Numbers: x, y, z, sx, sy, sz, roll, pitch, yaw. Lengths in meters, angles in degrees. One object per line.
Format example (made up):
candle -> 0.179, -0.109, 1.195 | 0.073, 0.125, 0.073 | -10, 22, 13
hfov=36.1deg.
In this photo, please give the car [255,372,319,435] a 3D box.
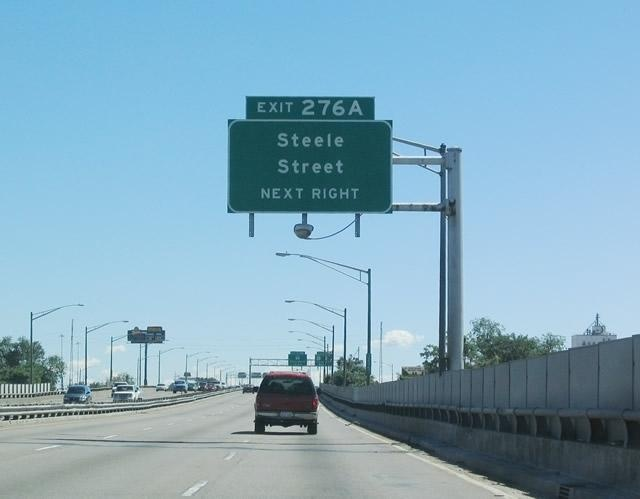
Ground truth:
car -> -1.235, 5.441, 35.170 | 2.192, 2.247, 1.352 | 0, -11, -3
